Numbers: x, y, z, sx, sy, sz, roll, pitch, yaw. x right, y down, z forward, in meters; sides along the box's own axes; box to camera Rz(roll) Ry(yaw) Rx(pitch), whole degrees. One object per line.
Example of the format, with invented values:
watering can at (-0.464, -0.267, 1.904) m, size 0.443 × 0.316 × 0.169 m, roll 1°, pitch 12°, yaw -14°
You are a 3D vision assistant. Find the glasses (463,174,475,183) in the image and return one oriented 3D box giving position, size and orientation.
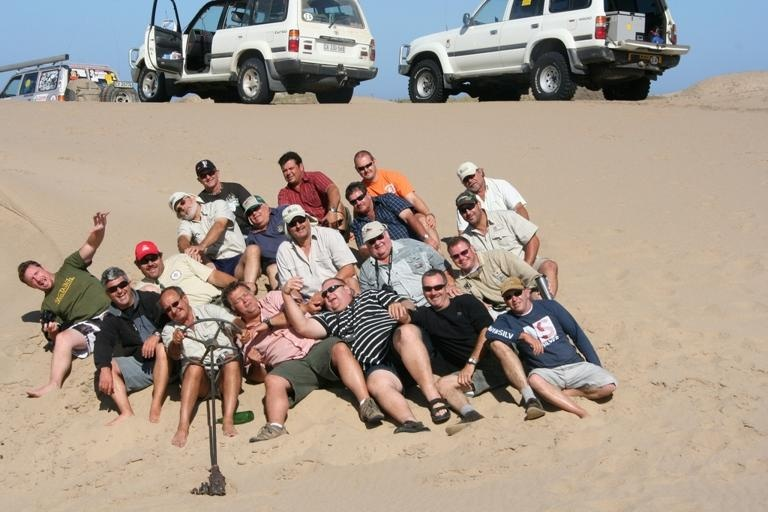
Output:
glasses at (1.319, -1.176, 11.607) m, size 0.143 × 0.078 × 0.111 m, roll 15°, pitch -45°, yaw -45°

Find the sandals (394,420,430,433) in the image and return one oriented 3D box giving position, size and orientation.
sandals at (0.346, 2.099, 9.339) m, size 0.438 × 0.177 × 0.168 m, roll 6°, pitch -9°, yaw -2°

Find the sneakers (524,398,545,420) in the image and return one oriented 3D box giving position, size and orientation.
sneakers at (1.876, 1.902, 9.287) m, size 0.235 × 0.287 × 0.203 m, roll 0°, pitch 17°, yaw -2°

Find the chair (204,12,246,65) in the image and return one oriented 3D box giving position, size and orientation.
chair at (-3.459, -4.779, 16.525) m, size 0.639 × 1.264 × 0.300 m, roll 2°, pitch -17°, yaw 46°

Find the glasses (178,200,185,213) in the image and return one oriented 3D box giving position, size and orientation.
glasses at (-3.156, -0.782, 11.679) m, size 0.105 × 0.174 × 0.077 m, roll 22°, pitch 23°, yaw -9°

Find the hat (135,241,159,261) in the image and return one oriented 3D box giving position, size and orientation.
hat at (-3.439, -0.062, 10.863) m, size 0.213 × 0.169 × 0.355 m, roll -22°, pitch -7°, yaw -13°

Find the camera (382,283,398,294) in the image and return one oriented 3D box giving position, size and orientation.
camera at (0.068, 0.466, 10.658) m, size 0.254 × 0.123 × 0.088 m, roll 26°, pitch 4°, yaw 29°

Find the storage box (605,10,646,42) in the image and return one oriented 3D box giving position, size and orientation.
storage box at (4.738, -4.491, 14.725) m, size 0.858 × 0.623 × 0.542 m, roll -5°, pitch 8°, yaw -39°

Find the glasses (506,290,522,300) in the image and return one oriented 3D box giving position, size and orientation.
glasses at (1.661, 0.514, 9.683) m, size 0.216 × 0.162 × 0.055 m, roll 6°, pitch 17°, yaw 15°

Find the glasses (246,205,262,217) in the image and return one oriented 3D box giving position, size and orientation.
glasses at (-2.015, -0.731, 11.674) m, size 0.201 × 0.138 × 0.281 m, roll -36°, pitch -2°, yaw 11°

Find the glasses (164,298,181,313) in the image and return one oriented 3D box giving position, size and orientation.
glasses at (-2.754, 0.657, 9.722) m, size 0.175 × 0.142 × 0.047 m, roll -3°, pitch 17°, yaw -12°

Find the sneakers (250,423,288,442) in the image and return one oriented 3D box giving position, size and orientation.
sneakers at (-1.451, 2.225, 9.428) m, size 0.416 × 0.183 × 0.195 m, roll 3°, pitch -11°, yaw -19°

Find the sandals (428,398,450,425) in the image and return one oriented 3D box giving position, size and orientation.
sandals at (0.708, 1.946, 9.423) m, size 0.252 × 0.329 × 0.256 m, roll 1°, pitch 17°, yaw 2°
